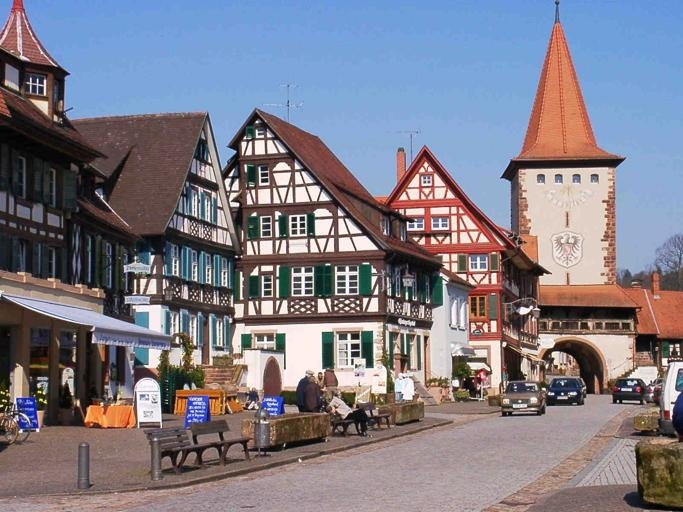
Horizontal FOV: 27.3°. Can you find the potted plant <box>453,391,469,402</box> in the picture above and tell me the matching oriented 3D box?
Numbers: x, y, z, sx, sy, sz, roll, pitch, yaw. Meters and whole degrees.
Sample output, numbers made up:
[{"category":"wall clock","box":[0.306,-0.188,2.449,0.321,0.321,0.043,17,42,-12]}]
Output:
[{"category":"potted plant","box":[6.088,7.106,71.105,0.538,0.514,0.565,2,-8,-14]}]

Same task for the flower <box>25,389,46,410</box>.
[{"category":"flower","box":[-9.884,4.711,45.740,0.468,0.774,1.036,-1,-14,-10]}]

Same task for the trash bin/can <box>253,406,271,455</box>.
[{"category":"trash bin/can","box":[-2.166,4.772,38.457,0.459,1.242,0.526,1,-1,-18]}]

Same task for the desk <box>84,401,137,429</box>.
[{"category":"desk","box":[-7.661,5.317,46.491,1.620,0.720,0.646,0,-14,-15]}]

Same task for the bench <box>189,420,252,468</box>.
[{"category":"bench","box":[-3.091,4.841,36.477,0.853,1.108,2.447,-4,-5,16]}]

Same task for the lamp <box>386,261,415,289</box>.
[{"category":"lamp","box":[2.826,0.962,67.360,1.389,1.412,1.005,-11,-14,43]}]

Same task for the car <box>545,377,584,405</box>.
[{"category":"car","box":[10.616,6.418,66.421,1.094,0.865,2.496,-1,-8,13]}]

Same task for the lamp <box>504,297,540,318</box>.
[{"category":"lamp","box":[10.629,3.073,83.694,1.572,0.995,2.436,-3,-3,44]}]

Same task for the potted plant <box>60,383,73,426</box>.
[{"category":"potted plant","box":[-9.297,4.998,47.335,0.434,1.470,1.042,-1,-13,-8]}]

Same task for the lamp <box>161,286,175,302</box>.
[{"category":"lamp","box":[-7.407,1.609,59.899,0.472,0.651,0.529,-2,3,-4]}]

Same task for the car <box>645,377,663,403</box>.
[{"category":"car","box":[15.493,6.686,69.370,0.975,0.826,2.178,0,-1,8]}]

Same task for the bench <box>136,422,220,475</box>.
[{"category":"bench","box":[-3.876,4.807,35.389,1.932,0.810,0.752,-2,-19,-6]}]
